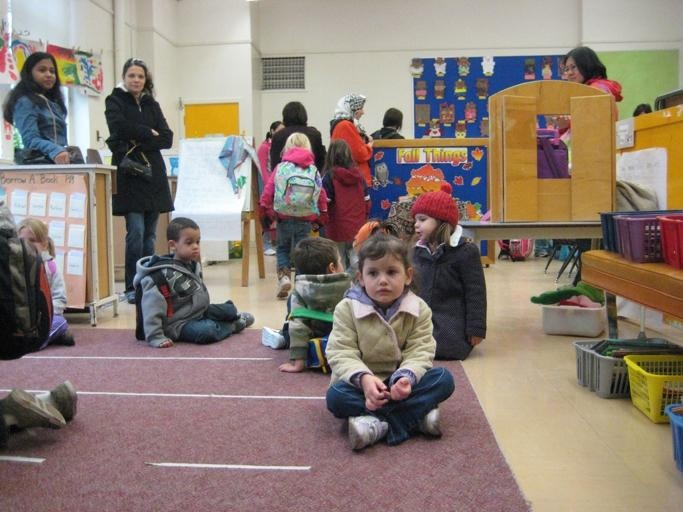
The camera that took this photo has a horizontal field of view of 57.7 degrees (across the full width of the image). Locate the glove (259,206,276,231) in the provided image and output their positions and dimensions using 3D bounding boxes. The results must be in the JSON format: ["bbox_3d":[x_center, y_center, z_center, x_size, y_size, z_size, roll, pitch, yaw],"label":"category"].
[{"bbox_3d":[-0.617,-0.311,5.132,0.115,0.225,0.377,-2,11,-7],"label":"glove"}]

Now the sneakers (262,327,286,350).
[{"bbox_3d":[-0.362,0.428,3.250,0.058,0.078,0.142,1,8,-25],"label":"sneakers"}]

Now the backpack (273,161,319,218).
[{"bbox_3d":[-0.337,-0.539,4.770,0.359,0.459,0.264,7,26,-3],"label":"backpack"}]

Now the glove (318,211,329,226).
[{"bbox_3d":[-0.145,-0.305,4.870,0.082,0.097,0.086,3,4,-1],"label":"glove"}]

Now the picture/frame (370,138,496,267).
[{"bbox_3d":[0.879,-0.588,5.587,1.099,1.078,1.064,8,36,30],"label":"picture/frame"}]

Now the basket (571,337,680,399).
[{"bbox_3d":[1.100,0.445,2.537,0.230,0.120,0.316,-1,10,1],"label":"basket"}]

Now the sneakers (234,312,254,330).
[{"bbox_3d":[-0.578,0.381,3.630,0.073,0.099,0.224,-4,-7,-3],"label":"sneakers"}]

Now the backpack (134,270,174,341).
[{"bbox_3d":[-0.995,0.259,3.315,0.175,0.318,0.338,2,5,-13],"label":"backpack"}]

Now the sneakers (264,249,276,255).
[{"bbox_3d":[-0.926,-0.050,7.898,0.081,0.058,0.162,-3,-19,-36],"label":"sneakers"}]

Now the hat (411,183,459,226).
[{"bbox_3d":[0.480,-0.264,3.113,0.231,0.195,0.186,12,0,-22],"label":"hat"}]

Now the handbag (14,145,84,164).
[{"bbox_3d":[-1.916,-0.633,4.062,0.224,0.097,0.284,12,11,31],"label":"handbag"}]

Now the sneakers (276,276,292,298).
[{"bbox_3d":[-0.429,0.234,4.606,0.065,0.093,0.202,6,-37,-13],"label":"sneakers"}]

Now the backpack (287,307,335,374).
[{"bbox_3d":[-0.119,0.377,2.817,0.274,0.294,0.197,-2,5,-1],"label":"backpack"}]

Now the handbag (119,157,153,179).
[{"bbox_3d":[-1.463,-0.635,4.410,0.169,0.075,0.145,24,22,-20],"label":"handbag"}]
